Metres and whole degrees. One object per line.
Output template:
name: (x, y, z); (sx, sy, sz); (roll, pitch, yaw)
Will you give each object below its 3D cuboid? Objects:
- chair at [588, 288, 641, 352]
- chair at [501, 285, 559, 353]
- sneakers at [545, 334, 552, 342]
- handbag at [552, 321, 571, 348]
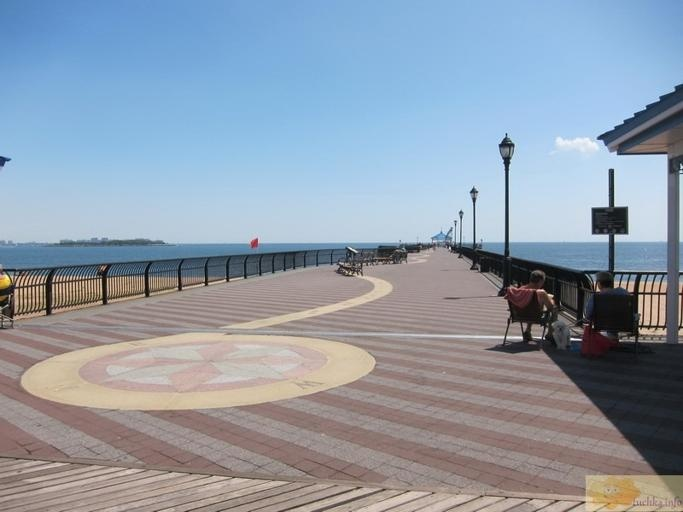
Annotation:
chair: (5.327, 1.326, 9.345); (1.072, 0.988, 1.009); (2, -10, 17)
chair: (4.235, 1.374, 10.557); (1.331, 1.063, 1.145); (4, -8, 26)
sneakers: (4.491, 1.756, 10.368); (0.127, 0.166, 0.221); (0, 5, -1)
handbag: (4.585, 1.649, 9.983); (0.427, 0.600, 0.451); (8, -12, 7)
